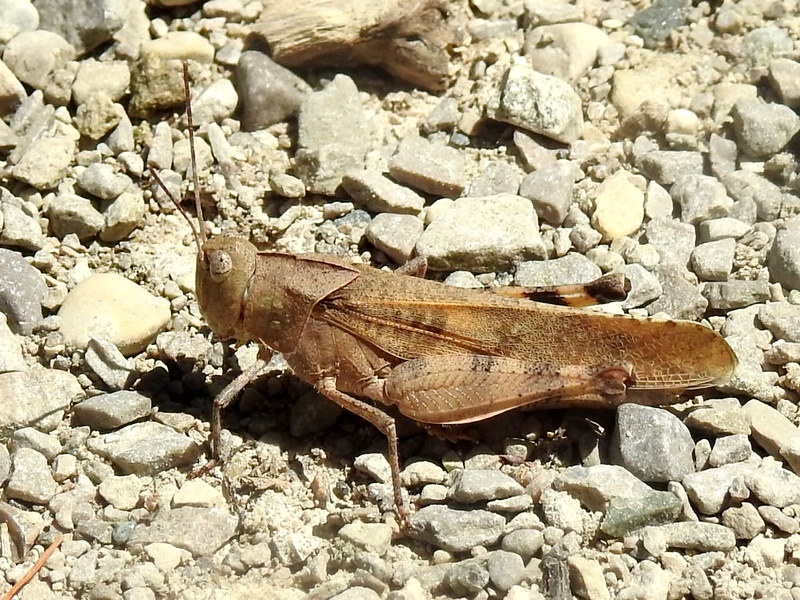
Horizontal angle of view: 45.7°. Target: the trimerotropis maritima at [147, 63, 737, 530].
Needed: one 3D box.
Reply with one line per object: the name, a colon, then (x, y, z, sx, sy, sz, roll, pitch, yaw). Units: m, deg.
trimerotropis maritima: (0.166, 0.136, 3.734, 2.114, 1.225, 0.800, 10, -57, 6)
